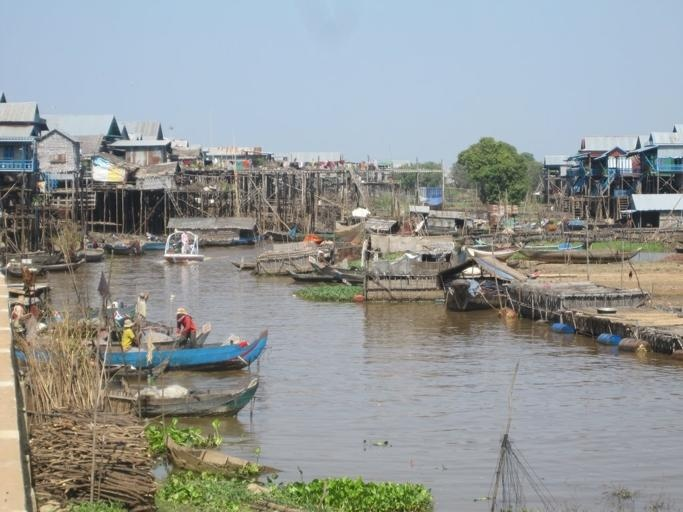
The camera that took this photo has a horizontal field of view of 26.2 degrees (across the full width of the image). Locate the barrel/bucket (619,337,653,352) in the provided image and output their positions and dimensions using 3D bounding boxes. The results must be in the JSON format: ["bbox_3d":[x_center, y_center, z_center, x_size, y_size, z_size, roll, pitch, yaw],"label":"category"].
[{"bbox_3d":[11.401,3.521,57.157,0.990,0.679,0.628,0,-7,42],"label":"barrel/bucket"}]

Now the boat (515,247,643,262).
[{"bbox_3d":[12.880,0.032,81.237,6.317,0.853,3.185,1,3,31],"label":"boat"}]

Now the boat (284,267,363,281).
[{"bbox_3d":[-0.916,0.776,76.463,5.567,1.011,1.233,0,-8,37],"label":"boat"}]

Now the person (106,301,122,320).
[{"bbox_3d":[-8.698,2.079,56.596,0.759,0.978,2.619,0,-3,-10],"label":"person"}]

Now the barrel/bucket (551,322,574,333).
[{"bbox_3d":[9.162,3.043,60.727,0.485,0.547,0.862,22,-16,-35],"label":"barrel/bucket"}]

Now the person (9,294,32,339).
[{"bbox_3d":[-11.977,2.279,54.427,0.532,0.897,2.553,9,25,-17],"label":"person"}]

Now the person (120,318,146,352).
[{"bbox_3d":[-7.598,2.862,52.705,0.713,1.015,0.656,6,23,20],"label":"person"}]

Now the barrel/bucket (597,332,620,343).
[{"bbox_3d":[10.566,3.337,58.393,0.456,0.457,0.694,-8,7,-41],"label":"barrel/bucket"}]

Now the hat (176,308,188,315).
[{"bbox_3d":[-6.027,2.142,55.000,0.629,0.225,0.649,1,3,0],"label":"hat"}]
